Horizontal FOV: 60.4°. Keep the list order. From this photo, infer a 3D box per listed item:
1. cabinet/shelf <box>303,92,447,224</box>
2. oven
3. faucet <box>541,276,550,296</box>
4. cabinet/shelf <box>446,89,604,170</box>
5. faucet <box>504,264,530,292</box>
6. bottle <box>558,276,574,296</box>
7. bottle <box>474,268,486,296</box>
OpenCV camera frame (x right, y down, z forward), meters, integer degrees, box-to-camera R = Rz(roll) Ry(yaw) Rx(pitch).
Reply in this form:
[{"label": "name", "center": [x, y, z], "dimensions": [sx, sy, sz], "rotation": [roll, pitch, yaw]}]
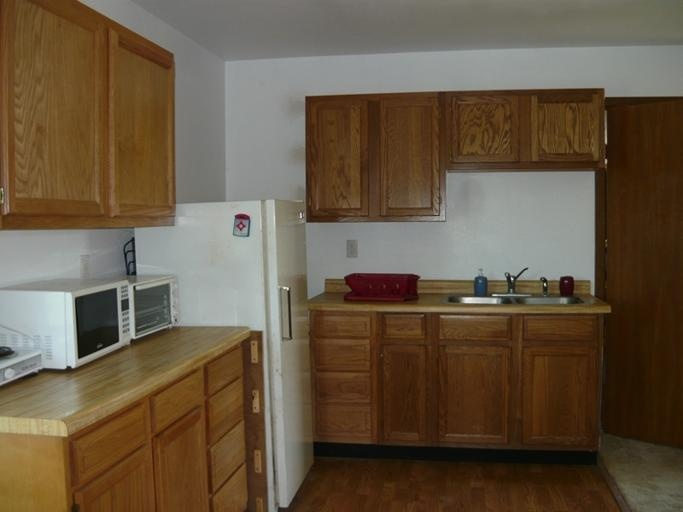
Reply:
[{"label": "cabinet/shelf", "center": [0.247, -0.694, 4.237], "dimensions": [0.976, 0.895, 0.360], "rotation": [0, 3, 5]}, {"label": "oven", "center": [-1.090, 0.283, 3.163], "dimensions": [0.261, 0.299, 0.398], "rotation": [-3, 5, 21]}, {"label": "faucet", "center": [1.467, 0.209, 4.255], "dimensions": [0.063, 0.130, 0.205], "rotation": [2, 13, 18]}, {"label": "cabinet/shelf", "center": [1.278, -0.910, 4.093], "dimensions": [1.040, 0.536, 0.323], "rotation": [3, 20, 20]}, {"label": "faucet", "center": [1.266, 0.171, 4.266], "dimensions": [0.165, 0.189, 0.258], "rotation": [2, 13, 18]}, {"label": "bottle", "center": [1.583, 0.212, 4.157], "dimensions": [0.114, 0.177, 0.123], "rotation": [-1, 2, 0]}, {"label": "bottle", "center": [1.014, 0.189, 4.285], "dimensions": [0.097, 0.172, 0.218], "rotation": [1, 12, 13]}]
